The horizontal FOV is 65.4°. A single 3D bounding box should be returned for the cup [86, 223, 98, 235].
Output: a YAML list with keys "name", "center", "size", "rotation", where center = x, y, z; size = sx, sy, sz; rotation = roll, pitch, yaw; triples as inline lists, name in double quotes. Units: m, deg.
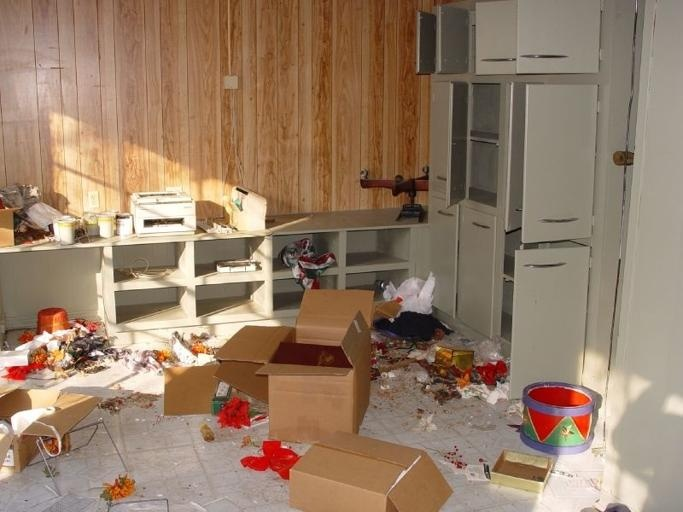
- name: "cup"
  center: [-2.067, -0.212, 4.432]
  size: [0.086, 0.093, 0.087]
  rotation: [3, 30, -2]

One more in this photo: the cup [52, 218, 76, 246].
- name: "cup"
  center: [-2.213, -0.198, 4.276]
  size: [0.162, 0.203, 0.141]
  rotation: [-5, 15, -18]

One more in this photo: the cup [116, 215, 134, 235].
- name: "cup"
  center: [-1.812, -0.257, 4.468]
  size: [0.131, 0.179, 0.165]
  rotation: [-2, 14, -19]

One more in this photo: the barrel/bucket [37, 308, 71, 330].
- name: "barrel/bucket"
  center: [-2.381, 0.528, 4.404]
  size: [0.193, 0.151, 0.195]
  rotation: [4, 10, -1]

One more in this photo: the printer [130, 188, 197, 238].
- name: "printer"
  center: [-1.519, -0.316, 4.697]
  size: [0.656, 0.304, 0.655]
  rotation: [-3, 0, 25]

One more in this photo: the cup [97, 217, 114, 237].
- name: "cup"
  center: [-1.929, -0.242, 4.449]
  size: [0.151, 0.177, 0.154]
  rotation: [1, 10, 0]
